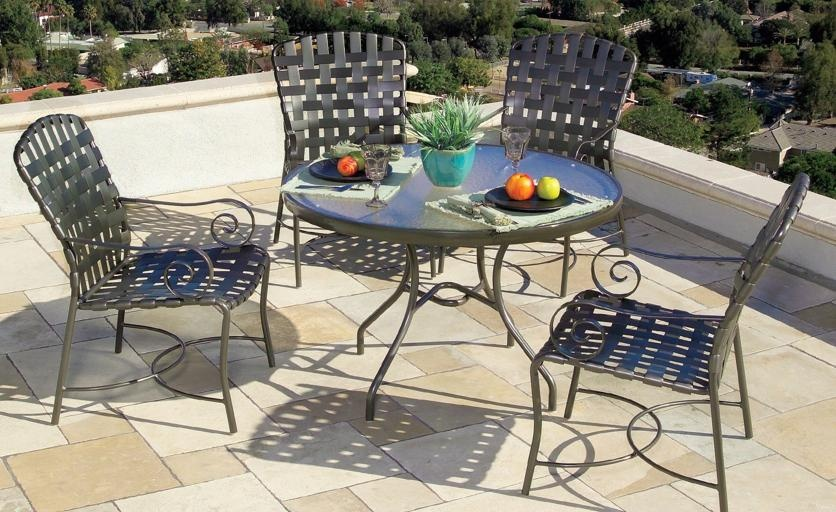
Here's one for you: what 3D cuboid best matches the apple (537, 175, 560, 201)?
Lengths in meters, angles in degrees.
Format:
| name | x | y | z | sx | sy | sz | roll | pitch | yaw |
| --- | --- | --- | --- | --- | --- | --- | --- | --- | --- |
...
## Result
| name | x | y | z | sx | sy | sz | roll | pitch | yaw |
| --- | --- | --- | --- | --- | --- | --- | --- | --- | --- |
| apple | 0.532 | -0.281 | 2.800 | 0.121 | 0.083 | 0.111 | 13 | 14 | 25 |

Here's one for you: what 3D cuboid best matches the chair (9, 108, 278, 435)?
| name | x | y | z | sx | sy | sz | roll | pitch | yaw |
| --- | --- | --- | --- | --- | --- | --- | --- | --- | --- |
| chair | -1.215 | 0.018 | 3.022 | 1.016 | 1.233 | 1.012 | -4 | 29 | -11 |

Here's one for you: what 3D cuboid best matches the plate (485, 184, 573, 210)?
| name | x | y | z | sx | sy | sz | roll | pitch | yaw |
| --- | --- | --- | --- | --- | --- | --- | --- | --- | --- |
| plate | 0.455 | -0.231 | 2.784 | 0.365 | 0.042 | 0.220 | 6 | 24 | 10 |

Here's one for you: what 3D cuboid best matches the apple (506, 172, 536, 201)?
| name | x | y | z | sx | sy | sz | roll | pitch | yaw |
| --- | --- | --- | --- | --- | --- | --- | --- | --- | --- |
| apple | 0.405 | -0.288 | 2.810 | 0.151 | 0.091 | 0.121 | 4 | 6 | 0 |

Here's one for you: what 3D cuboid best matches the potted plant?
| name | x | y | z | sx | sy | sz | roll | pitch | yaw |
| --- | --- | --- | --- | --- | --- | --- | --- | --- | --- |
| potted plant | 0.163 | -0.500 | 2.959 | 0.453 | 0.266 | 0.361 | 16 | 32 | 38 |
